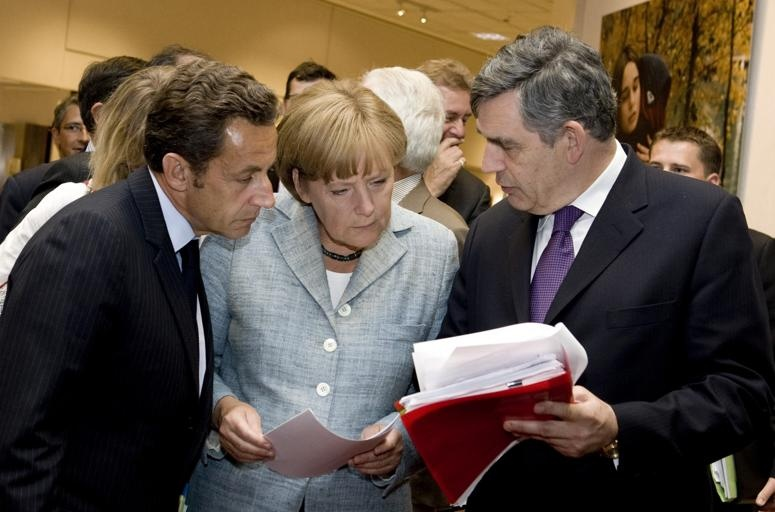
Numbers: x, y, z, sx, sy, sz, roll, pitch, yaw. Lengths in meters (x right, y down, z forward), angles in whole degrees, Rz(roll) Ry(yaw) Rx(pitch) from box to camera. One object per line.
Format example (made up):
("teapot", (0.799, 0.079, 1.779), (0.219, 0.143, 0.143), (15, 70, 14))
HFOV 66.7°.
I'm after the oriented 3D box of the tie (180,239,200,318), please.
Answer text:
("tie", (-0.671, 0.061, 2.014), (0.051, 0.319, 0.079), (-4, 0, 12))
